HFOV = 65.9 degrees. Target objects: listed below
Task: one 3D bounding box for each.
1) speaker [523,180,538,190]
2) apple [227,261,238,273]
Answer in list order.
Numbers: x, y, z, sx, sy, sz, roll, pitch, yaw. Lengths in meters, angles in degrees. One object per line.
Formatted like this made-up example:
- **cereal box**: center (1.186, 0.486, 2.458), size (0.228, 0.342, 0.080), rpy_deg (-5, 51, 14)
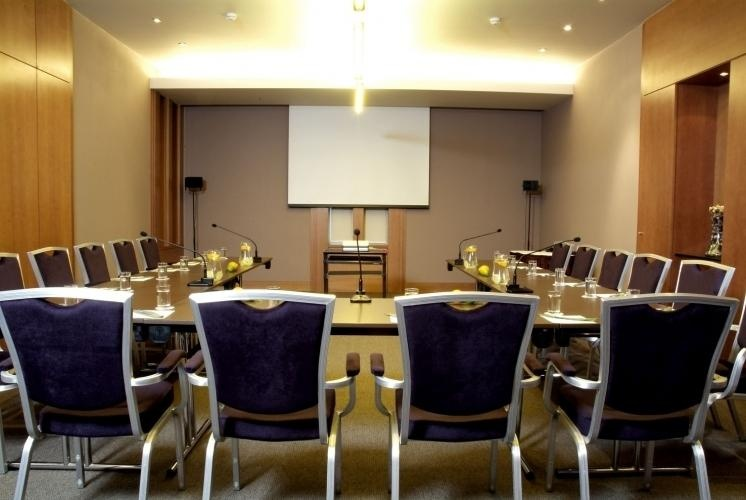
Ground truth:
- **speaker**: center (2.608, -1.075, 9.637), size (0.179, 0.124, 0.183), rpy_deg (0, 0, -1)
- **apple**: center (-1.514, 0.171, 6.131), size (0.102, 0.115, 0.142), rpy_deg (9, 6, -4)
